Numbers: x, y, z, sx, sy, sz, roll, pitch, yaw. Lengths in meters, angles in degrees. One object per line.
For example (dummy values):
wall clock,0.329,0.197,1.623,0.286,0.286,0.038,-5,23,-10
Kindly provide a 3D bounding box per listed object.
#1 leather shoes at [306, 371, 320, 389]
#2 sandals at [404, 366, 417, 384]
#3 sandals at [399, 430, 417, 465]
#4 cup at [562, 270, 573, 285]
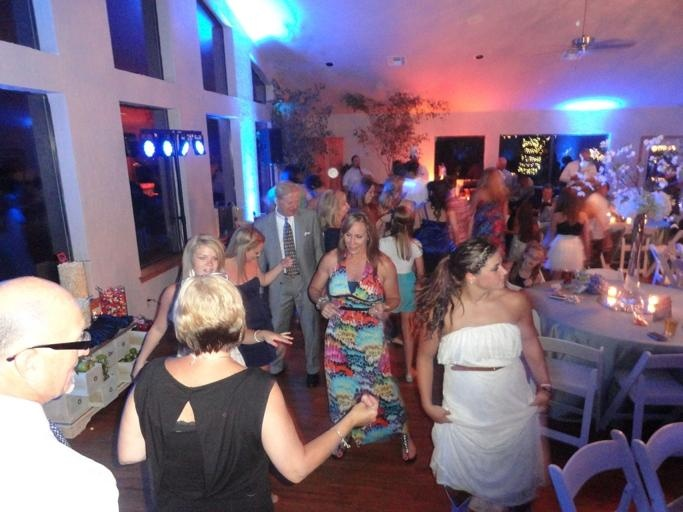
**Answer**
leather shoes,-0.284,1.206,4.775,0.108,0.118,0.282,-1,-12,-1
sandals,0.672,1.167,4.796,0.071,0.163,0.152,-5,55,5
sandals,0.521,1.493,3.831,0.088,0.114,0.269,-7,14,7
cup,2.232,0.201,4.895,0.112,0.138,0.118,0,-2,0
